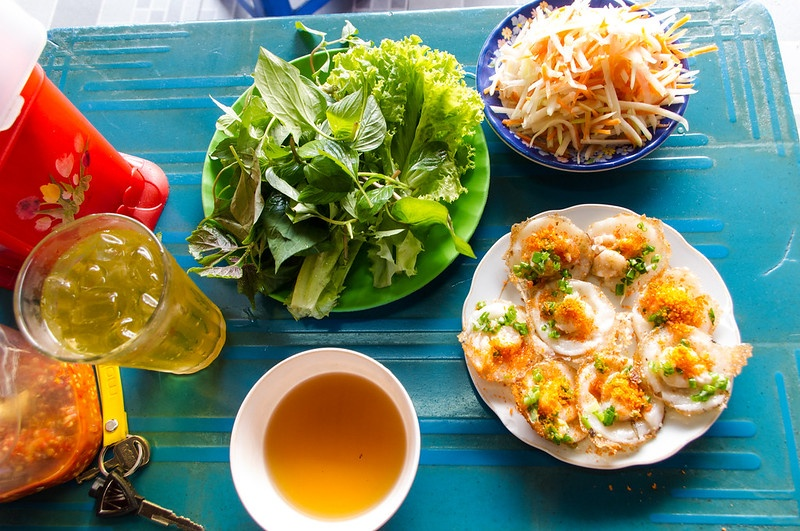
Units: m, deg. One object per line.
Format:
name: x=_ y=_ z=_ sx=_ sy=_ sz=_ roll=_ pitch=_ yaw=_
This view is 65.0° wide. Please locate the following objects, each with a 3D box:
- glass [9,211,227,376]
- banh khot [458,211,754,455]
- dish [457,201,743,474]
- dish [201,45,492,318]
glass: x=-0.685 y=0.092 z=1.611 sx=0.386 sy=0.351 sz=0.354 roll=1 pitch=72 yaw=7
banh khot: x=0.514 y=0.163 z=1.616 sx=0.762 sy=0.132 sz=0.680 roll=-4 pitch=89 yaw=-13
dish: x=0.506 y=0.176 z=1.635 sx=0.677 sy=0.182 sz=0.665 roll=18 pitch=75 yaw=12
dish: x=-0.159 y=-0.269 z=1.629 sx=0.773 sy=0.432 sz=0.785 roll=5 pitch=73 yaw=8
